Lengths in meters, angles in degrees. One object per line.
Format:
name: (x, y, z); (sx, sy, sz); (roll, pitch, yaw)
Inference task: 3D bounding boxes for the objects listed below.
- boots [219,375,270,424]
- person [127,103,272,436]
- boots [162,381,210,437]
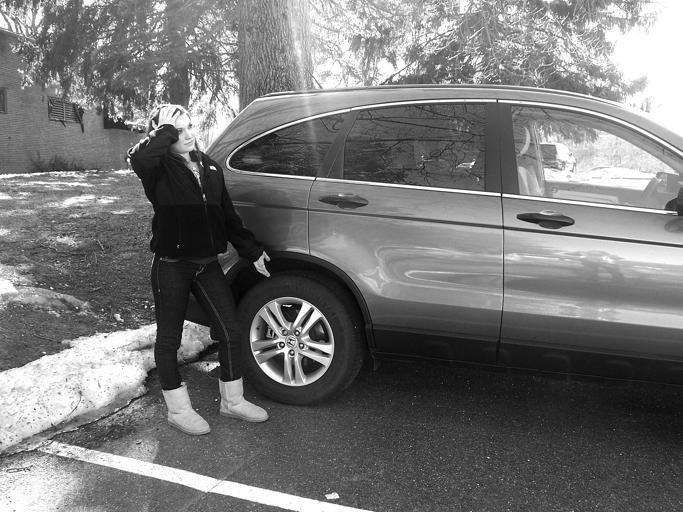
boots: (-0.656, 1.037, 3.540); (0.449, 0.338, 0.204); (2, 4, 0)
person: (-0.950, 0.114, 3.268); (0.740, 2.153, 0.458); (-5, 15, -23)
boots: (-1.051, 1.056, 3.358); (0.409, 0.285, 0.153); (4, 12, 32)
